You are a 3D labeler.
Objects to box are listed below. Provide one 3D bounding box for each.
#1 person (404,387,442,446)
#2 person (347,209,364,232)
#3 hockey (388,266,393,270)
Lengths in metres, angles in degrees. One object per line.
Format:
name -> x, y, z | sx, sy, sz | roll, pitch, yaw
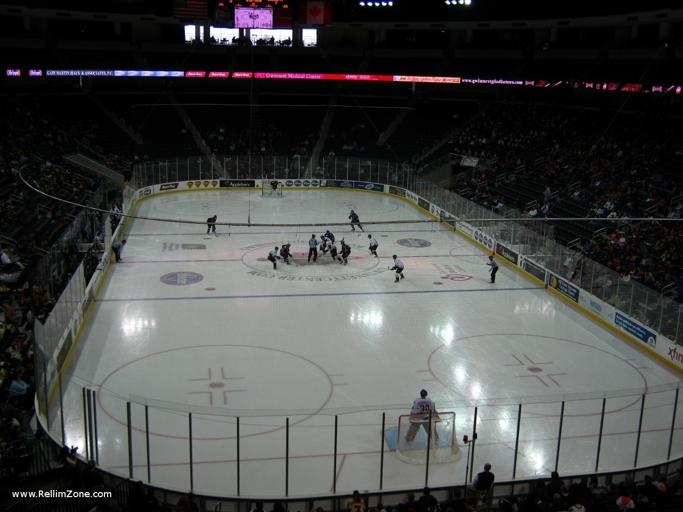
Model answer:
person -> 1.885, 3.796, 13.168 | 0.808, 1.331, 0.677 | 1, 9, -7
person -> 0.825, -2.144, 34.282 | 1.225, 0.913, 2.036 | 21, 11, -12
hockey -> 2.341, 0.551, 27.115 | 0.157, 0.152, 0.153 | -5, -7, -4
